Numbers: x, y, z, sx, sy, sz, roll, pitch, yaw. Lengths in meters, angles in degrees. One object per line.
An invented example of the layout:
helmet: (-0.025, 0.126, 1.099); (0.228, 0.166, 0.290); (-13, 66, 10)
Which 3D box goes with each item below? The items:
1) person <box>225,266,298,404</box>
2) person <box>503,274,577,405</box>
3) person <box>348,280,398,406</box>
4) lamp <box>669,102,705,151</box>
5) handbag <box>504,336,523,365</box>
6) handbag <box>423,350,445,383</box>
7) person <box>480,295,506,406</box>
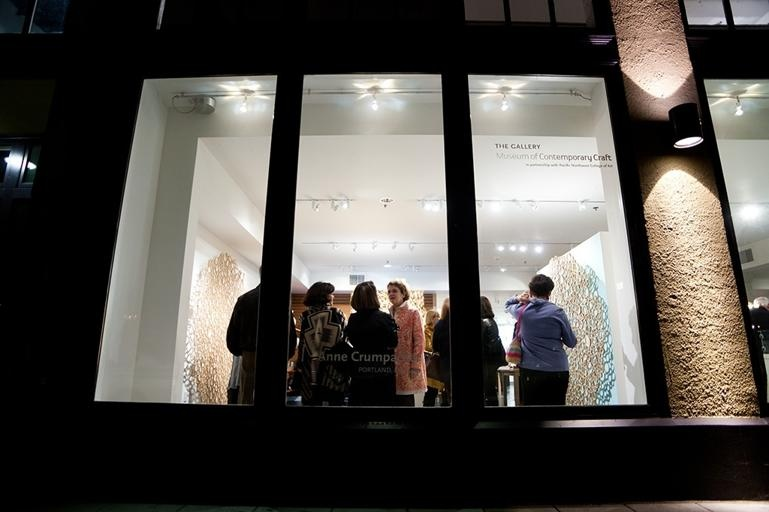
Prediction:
person: (-1.092, 0.663, 3.930); (0.167, 0.873, 0.454); (9, -10, -42)
person: (1.284, 0.641, 4.056); (0.548, 0.993, 0.271); (2, -7, 7)
person: (-0.112, 0.683, 4.070); (0.411, 0.933, 0.232); (3, -7, -5)
lamp: (2.412, -1.026, 3.984); (0.292, 0.355, 0.141); (3, -7, -8)
handbag: (1.037, 0.756, 4.058); (0.163, 0.216, 0.044); (7, -8, -32)
handbag: (0.426, 0.961, 4.426); (0.224, 0.385, 0.166); (2, -33, 2)
person: (0.838, 0.715, 3.911); (0.176, 0.804, 0.302); (0, -8, 21)
